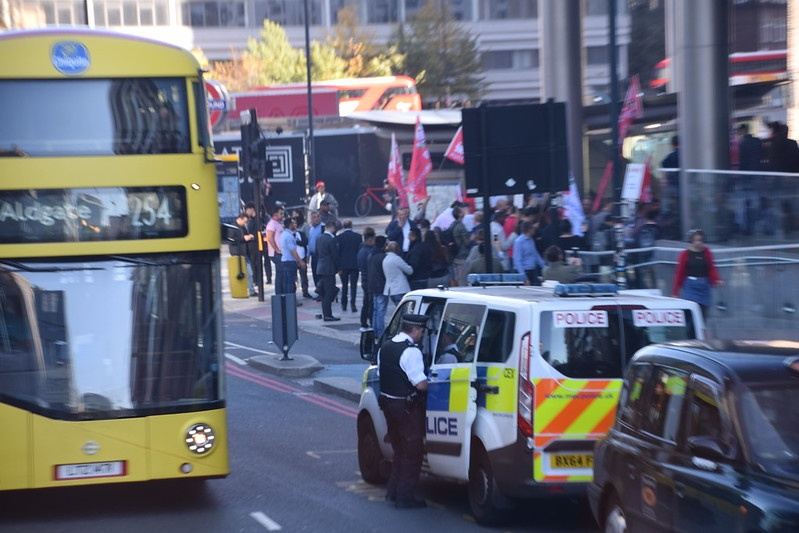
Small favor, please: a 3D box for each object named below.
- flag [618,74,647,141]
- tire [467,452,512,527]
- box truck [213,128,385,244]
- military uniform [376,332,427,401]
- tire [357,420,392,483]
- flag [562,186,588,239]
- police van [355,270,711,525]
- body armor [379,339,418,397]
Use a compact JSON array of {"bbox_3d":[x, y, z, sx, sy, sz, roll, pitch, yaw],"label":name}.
[{"bbox_3d":[6.579,-4.512,27.022,0.623,1.888,2.112,1,7,13],"label":"flag"},{"bbox_3d":[1.062,2.573,11.061,0.270,0.944,0.780,2,10,-21],"label":"tire"},{"bbox_3d":[-6.026,-3.545,50.305,7.865,5.413,4.745,-1,-29,-11],"label":"box truck"},{"bbox_3d":[0.005,1.199,12.053,0.406,0.794,0.818,-6,16,-35],"label":"military uniform"},{"bbox_3d":[-0.335,2.548,13.013,0.267,0.905,0.839,1,8,-28],"label":"tire"},{"bbox_3d":[4.049,-1.483,22.240,0.511,1.653,0.457,-13,33,-5],"label":"flag"},{"bbox_3d":[1.267,1.485,11.919,2.441,2.022,3.633,-1,4,-29],"label":"police van"},{"bbox_3d":[0.003,1.274,11.856,0.423,0.854,0.582,-5,8,-37],"label":"body armor"}]
